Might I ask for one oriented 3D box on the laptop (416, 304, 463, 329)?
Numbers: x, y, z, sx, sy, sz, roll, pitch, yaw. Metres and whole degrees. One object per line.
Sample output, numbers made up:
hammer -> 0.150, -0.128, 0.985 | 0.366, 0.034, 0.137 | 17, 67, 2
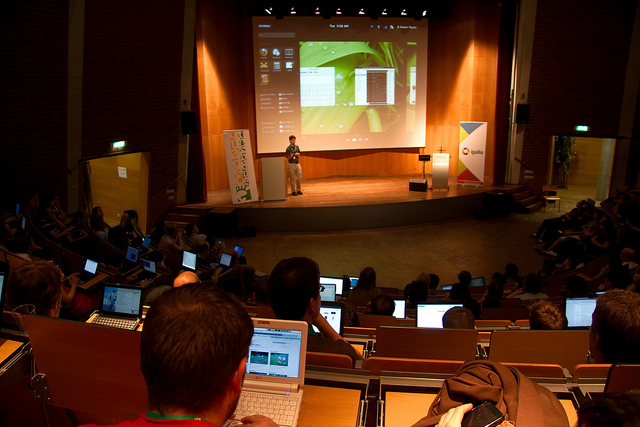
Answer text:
laptop -> 1.140, 1.025, 4.173 | 0.459, 0.337, 0.303 | 2, -9, 8

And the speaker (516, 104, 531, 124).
speaker -> 6.288, -3.098, 13.107 | 0.423, 0.590, 0.212 | 1, 7, 7

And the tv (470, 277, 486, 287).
tv -> 2.796, 1.214, 7.533 | 0.242, 0.198, 0.234 | 3, -1, 28

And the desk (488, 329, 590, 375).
desk -> 1.407, 0.885, 2.726 | 0.509, 0.341, 0.185 | 1, 30, 3

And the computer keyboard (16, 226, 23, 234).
computer keyboard -> -5.459, 0.284, 7.721 | 0.133, 0.036, 0.149 | -3, 45, -5

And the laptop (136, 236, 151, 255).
laptop -> -3.423, 0.618, 8.215 | 0.226, 0.224, 0.185 | 28, 12, 21

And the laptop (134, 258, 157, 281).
laptop -> -2.591, 0.829, 6.449 | 0.347, 0.272, 0.247 | 9, 17, 22

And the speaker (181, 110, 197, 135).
speaker -> -3.555, -2.525, 11.383 | 0.512, 0.754, 0.390 | -8, 36, -24

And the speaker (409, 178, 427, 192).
speaker -> 2.938, -0.861, 12.755 | 0.514, 0.366, 0.298 | 1, 7, 12

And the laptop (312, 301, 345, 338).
laptop -> 0.118, 0.846, 3.514 | 0.313, 0.259, 0.302 | 6, 0, 9

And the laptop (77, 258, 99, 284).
laptop -> -3.481, 0.844, 6.388 | 0.283, 0.309, 0.215 | 13, 20, 11
